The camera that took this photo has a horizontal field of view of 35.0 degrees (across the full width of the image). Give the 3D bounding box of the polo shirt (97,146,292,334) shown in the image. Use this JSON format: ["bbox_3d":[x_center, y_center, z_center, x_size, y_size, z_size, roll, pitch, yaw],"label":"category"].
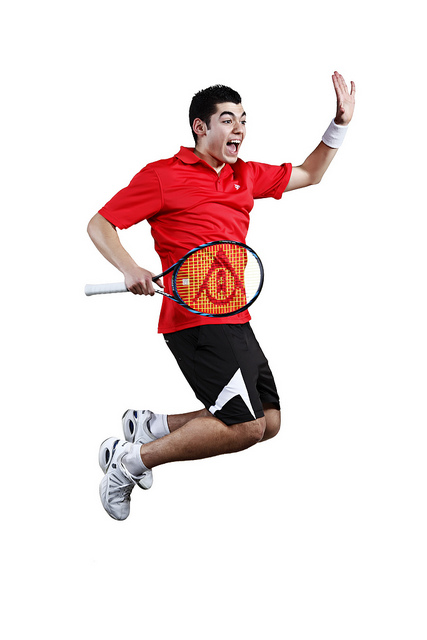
[{"bbox_3d":[0.041,-0.527,4.115,1.537,0.467,1.017,0,-88,-26],"label":"polo shirt"}]

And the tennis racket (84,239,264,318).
[{"bbox_3d":[-0.257,-0.286,3.875,1.162,0.454,0.078,7,-24,26],"label":"tennis racket"}]

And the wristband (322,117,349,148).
[{"bbox_3d":[0.775,-1.183,4.306,0.129,0.084,0.173,17,-66,-13],"label":"wristband"}]
